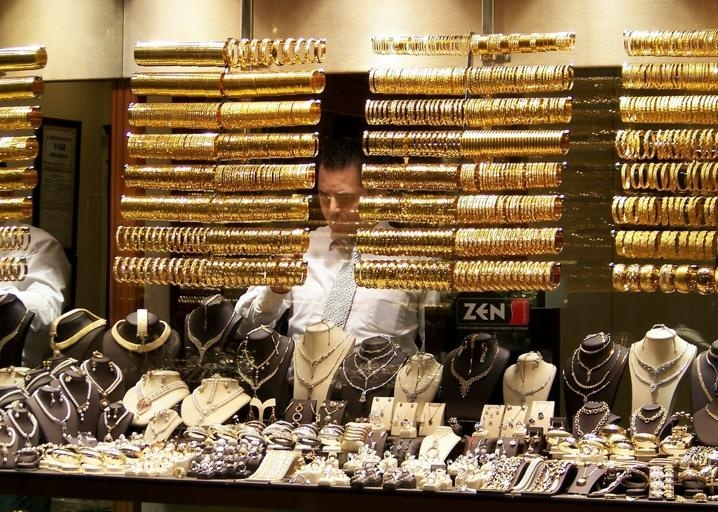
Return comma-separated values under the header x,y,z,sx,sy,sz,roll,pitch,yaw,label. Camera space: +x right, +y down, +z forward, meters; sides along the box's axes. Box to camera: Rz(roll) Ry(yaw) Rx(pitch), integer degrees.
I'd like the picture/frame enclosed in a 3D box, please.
x,y,z,sx,sy,sz,roll,pitch,yaw,label
-1.708,-0.290,5.410,0.242,0.050,1.313,4,46,-19,picture/frame

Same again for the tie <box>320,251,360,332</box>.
x,y,z,sx,sy,sz,roll,pitch,yaw,label
-0.079,0.169,5.009,0.122,0.520,0.028,13,34,0,tie
